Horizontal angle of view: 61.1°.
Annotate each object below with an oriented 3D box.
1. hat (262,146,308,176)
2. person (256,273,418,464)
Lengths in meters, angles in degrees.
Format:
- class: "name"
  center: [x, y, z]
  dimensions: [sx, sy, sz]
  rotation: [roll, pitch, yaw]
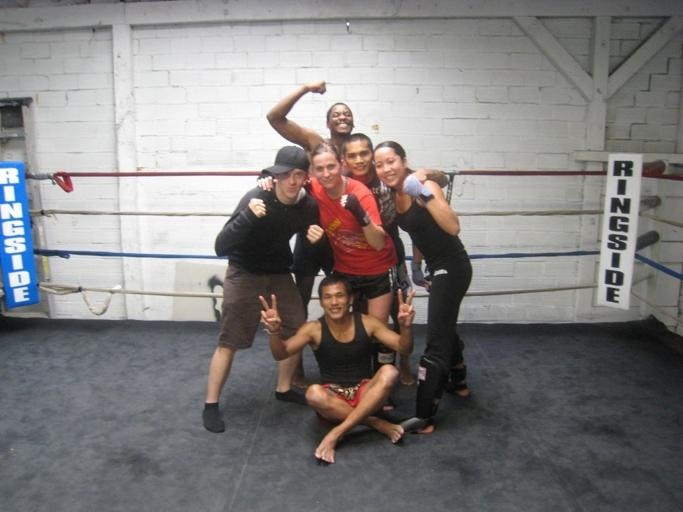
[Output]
- class: "hat"
  center: [-0.313, -0.527, 3.228]
  dimensions: [0.268, 0.105, 0.150]
  rotation: [-5, 17, -22]
- class: "person"
  center: [-0.010, 0.597, 3.325]
  dimensions: [0.823, 0.937, 0.657]
  rotation: [1, 11, 6]
